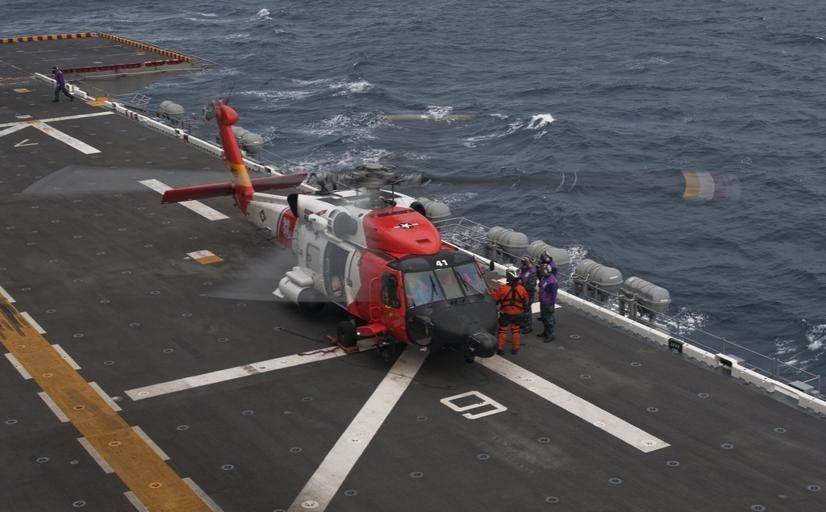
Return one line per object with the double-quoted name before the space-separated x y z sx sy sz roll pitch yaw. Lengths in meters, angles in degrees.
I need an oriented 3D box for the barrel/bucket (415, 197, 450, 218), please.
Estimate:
"barrel/bucket" 1.094 -2.713 45.405 1.475 0.484 1.980 -16 29 -36
